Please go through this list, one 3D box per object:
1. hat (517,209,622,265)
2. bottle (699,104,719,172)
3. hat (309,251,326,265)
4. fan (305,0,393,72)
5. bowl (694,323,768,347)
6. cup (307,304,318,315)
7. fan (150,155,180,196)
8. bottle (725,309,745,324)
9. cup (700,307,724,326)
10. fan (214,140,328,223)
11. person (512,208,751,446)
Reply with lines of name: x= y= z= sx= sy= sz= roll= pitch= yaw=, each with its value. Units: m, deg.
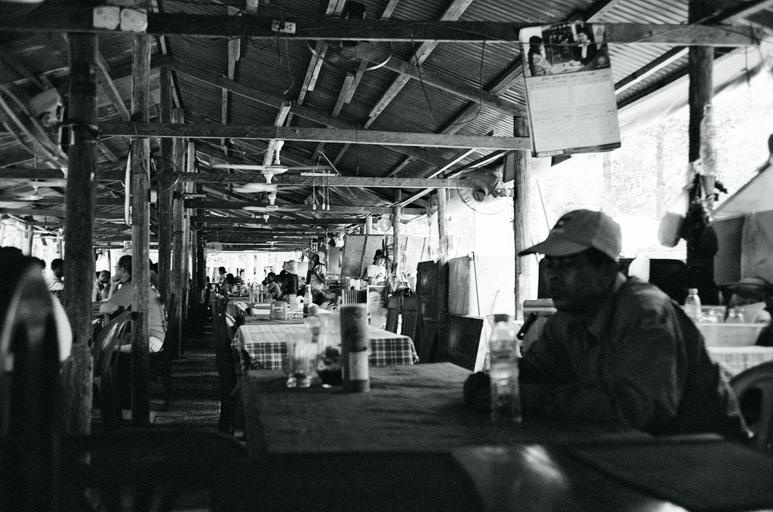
hat: x=0.917 y=-0.095 z=3.760 sx=0.350 sy=0.167 sz=0.242 roll=9 pitch=-12 yaw=0
bottle: x=2.861 y=-1.050 z=7.010 sx=0.136 sy=0.636 sz=0.133 roll=0 pitch=-5 yaw=0
hat: x=-1.863 y=0.055 z=21.825 sx=0.405 sy=0.255 sz=0.500 roll=-1 pitch=-10 yaw=-6
fan: x=-0.404 y=-2.533 z=10.136 sx=1.049 sy=0.557 sz=0.999 roll=7 pitch=-24 yaw=-12
bowl: x=2.307 y=0.532 z=5.274 sx=0.328 sy=0.097 sz=0.223 roll=1 pitch=-10 yaw=-2
cup: x=-0.608 y=0.449 z=6.572 sx=0.100 sy=0.098 sz=0.096 roll=2 pitch=-6 yaw=0
fan: x=-3.554 y=-1.319 z=12.696 sx=0.380 sy=0.734 sz=1.310 roll=2 pitch=-5 yaw=-16
bottle: x=2.563 y=0.442 z=5.765 sx=0.115 sy=0.105 sz=0.110 roll=-6 pitch=-9 yaw=32
cup: x=2.431 y=0.446 z=5.859 sx=0.163 sy=0.115 sz=0.157 roll=1 pitch=-2 yaw=0
fan: x=-2.130 y=-1.567 z=14.668 sx=1.889 sy=0.861 sz=1.826 roll=0 pitch=-8 yaw=4
person: x=1.422 y=0.363 z=4.290 sx=0.880 sy=1.316 sz=0.646 roll=6 pitch=-32 yaw=-4
